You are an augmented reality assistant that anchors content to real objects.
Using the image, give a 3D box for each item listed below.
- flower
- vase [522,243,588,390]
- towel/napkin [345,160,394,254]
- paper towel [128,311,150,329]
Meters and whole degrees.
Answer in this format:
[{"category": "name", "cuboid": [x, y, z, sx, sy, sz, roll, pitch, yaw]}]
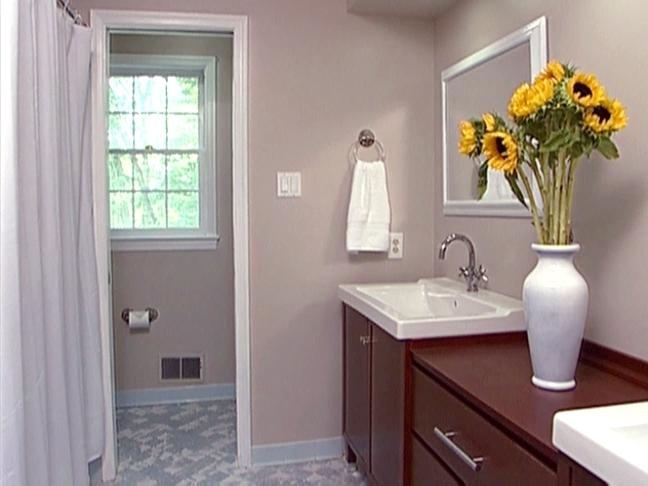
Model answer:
[{"category": "flower", "cuboid": [0.696, -0.295, 1.746, 0.484, 0.570, 0.236, 0, 14, 15]}, {"category": "vase", "cuboid": [0.738, 0.243, 1.696, 0.186, 0.462, 0.170, 1, 14, 18]}, {"category": "towel/napkin", "cuboid": [0.238, -0.180, 2.761, 0.211, 0.478, 0.143, 1, 2, 5]}, {"category": "paper towel", "cuboid": [-1.197, 0.496, 3.414, 0.099, 0.076, 0.113, 2, 14, 3]}]
